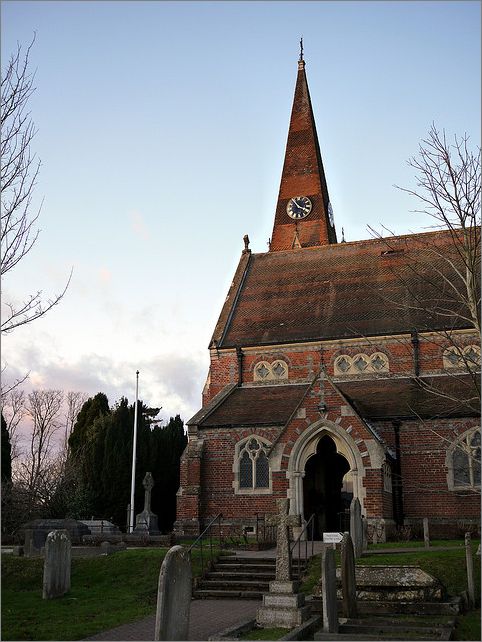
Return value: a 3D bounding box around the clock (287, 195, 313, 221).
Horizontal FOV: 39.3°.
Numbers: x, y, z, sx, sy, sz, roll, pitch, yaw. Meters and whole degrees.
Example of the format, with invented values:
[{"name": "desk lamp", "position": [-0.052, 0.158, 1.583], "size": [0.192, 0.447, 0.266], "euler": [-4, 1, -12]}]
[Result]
[{"name": "clock", "position": [4.178, -8.036, 47.770], "size": [1.885, 1.780, 0.454], "euler": [0, -14, 28]}]
